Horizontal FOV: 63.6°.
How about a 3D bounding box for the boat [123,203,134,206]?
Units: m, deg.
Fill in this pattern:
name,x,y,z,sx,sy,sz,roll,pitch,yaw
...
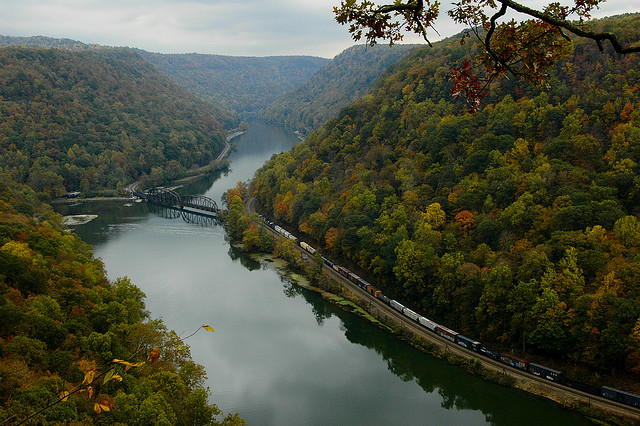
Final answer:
name,x,y,z,sx,sy,sz,roll,pitch,yaw
boat,-43.372,-2.029,116.761,1.530,0.239,2.110,3,21,14
